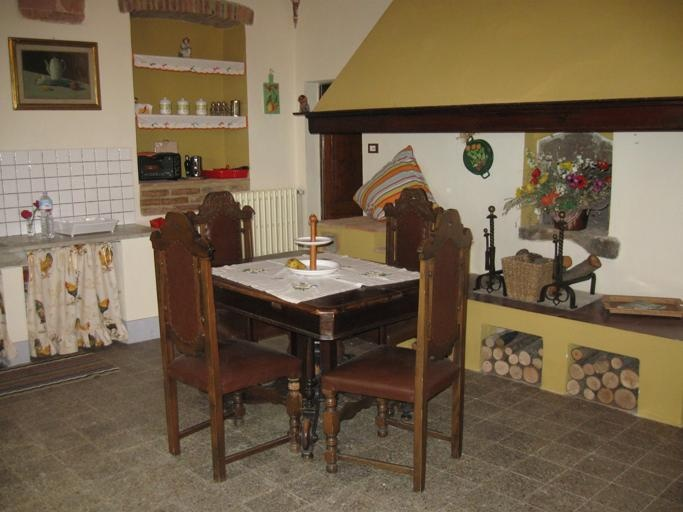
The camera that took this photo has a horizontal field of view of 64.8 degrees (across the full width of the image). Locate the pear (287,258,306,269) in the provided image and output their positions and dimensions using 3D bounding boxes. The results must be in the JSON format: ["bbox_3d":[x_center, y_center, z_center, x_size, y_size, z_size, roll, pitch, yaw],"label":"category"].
[{"bbox_3d":[-0.329,0.042,3.775,0.075,0.037,0.095,-5,15,-37],"label":"pear"}]

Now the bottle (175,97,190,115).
[{"bbox_3d":[-1.867,-1.764,6.350,0.180,0.198,0.179,2,6,2],"label":"bottle"}]

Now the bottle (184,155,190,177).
[{"bbox_3d":[-1.872,-1.095,6.553,0.059,0.230,0.198,-6,16,-20],"label":"bottle"}]

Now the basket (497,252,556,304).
[{"bbox_3d":[1.521,0.162,4.390,0.324,0.342,0.369,-12,19,-38],"label":"basket"}]

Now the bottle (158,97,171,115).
[{"bbox_3d":[-2.013,-1.715,6.171,0.117,0.181,0.198,-6,16,-20],"label":"bottle"}]

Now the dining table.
[{"bbox_3d":[-0.157,0.204,3.615,1.032,1.134,1.612,-12,19,-38],"label":"dining table"}]

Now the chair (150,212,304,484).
[{"bbox_3d":[-0.699,0.466,3.243,0.697,1.509,0.718,-14,20,-40],"label":"chair"}]

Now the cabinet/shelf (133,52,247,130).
[{"bbox_3d":[-1.807,-1.923,6.393,1.316,0.817,0.823,-7,16,-24],"label":"cabinet/shelf"}]

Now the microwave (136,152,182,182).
[{"bbox_3d":[-2.025,-1.002,6.000,0.548,0.374,0.311,-10,18,-38],"label":"microwave"}]

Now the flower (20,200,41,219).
[{"bbox_3d":[-2.919,-0.439,5.048,0.131,0.237,0.127,17,12,29],"label":"flower"}]

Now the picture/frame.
[{"bbox_3d":[-2.742,-1.734,5.073,0.793,0.645,0.052,-5,9,-26],"label":"picture/frame"}]

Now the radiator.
[{"bbox_3d":[-0.881,-0.385,6.000,0.850,0.861,0.149,-6,15,-32],"label":"radiator"}]
